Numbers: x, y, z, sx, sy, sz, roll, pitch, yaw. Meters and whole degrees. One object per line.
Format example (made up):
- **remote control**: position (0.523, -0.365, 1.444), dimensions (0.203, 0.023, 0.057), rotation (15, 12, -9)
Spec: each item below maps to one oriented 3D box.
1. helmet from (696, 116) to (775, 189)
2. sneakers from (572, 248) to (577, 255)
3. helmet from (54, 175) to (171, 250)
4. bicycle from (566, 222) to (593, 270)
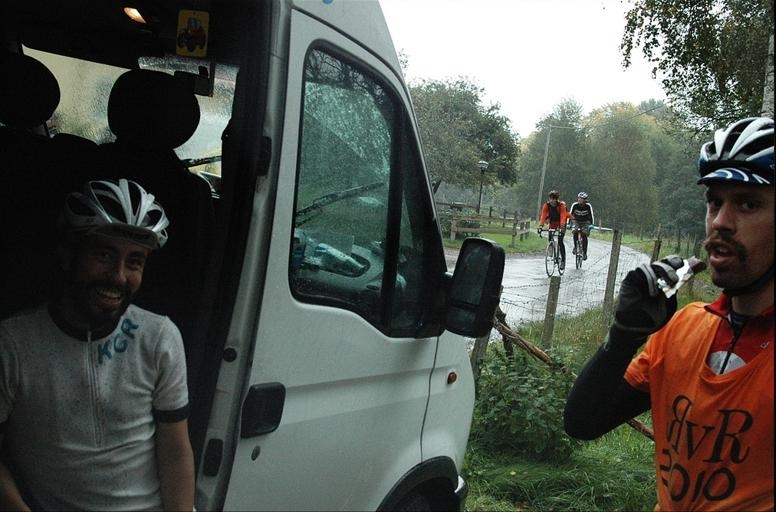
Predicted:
- **helmet**: position (1.380, -0.400, 2.506), dimensions (0.252, 0.323, 0.309), rotation (12, 36, 45)
- **sneakers**: position (5.615, -0.144, 18.566), dimensions (0.148, 0.154, 0.144), rotation (6, 8, 19)
- **helmet**: position (-1.080, -0.177, 2.501), dimensions (0.381, 0.260, 0.515), rotation (13, -12, -33)
- **bicycle**: position (5.844, -0.420, 18.800), dimensions (1.033, 1.298, 2.227), rotation (0, 19, 20)
